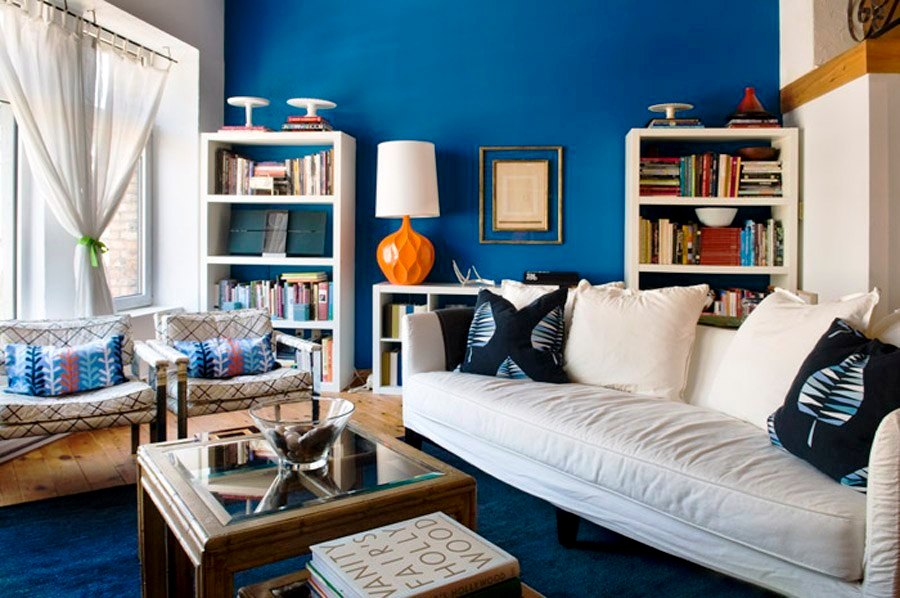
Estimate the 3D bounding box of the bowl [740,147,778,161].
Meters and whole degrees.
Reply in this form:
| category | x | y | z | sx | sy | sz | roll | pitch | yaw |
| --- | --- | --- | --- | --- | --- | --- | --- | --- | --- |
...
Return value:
| category | x | y | z | sx | sy | sz | roll | pitch | yaw |
| --- | --- | --- | --- | --- | --- | --- | --- | --- | --- |
| bowl | 2.296 | -1.070 | 5.303 | 0.260 | 0.111 | 0.152 | 1 | 7 | 24 |

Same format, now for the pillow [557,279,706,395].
| category | x | y | z | sx | sy | sz | roll | pitch | yaw |
| --- | --- | --- | --- | --- | --- | --- | --- | --- | --- |
| pillow | 1.027 | 0.227 | 4.100 | 0.388 | 0.641 | 0.835 | -1 | 5 | -40 |

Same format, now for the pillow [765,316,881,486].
| category | x | y | z | sx | sy | sz | roll | pitch | yaw |
| --- | --- | --- | --- | --- | --- | --- | --- | --- | --- |
| pillow | 1.651 | 0.435 | 3.030 | 0.402 | 0.593 | 0.410 | -4 | 7 | -18 |

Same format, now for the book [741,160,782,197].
| category | x | y | z | sx | sy | sz | roll | pitch | yaw |
| --- | --- | --- | --- | --- | --- | --- | --- | --- | --- |
| book | 2.277 | -0.873 | 5.200 | 0.280 | 0.248 | 0.064 | -1 | 3 | 6 |

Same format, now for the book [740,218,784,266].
| category | x | y | z | sx | sy | sz | roll | pitch | yaw |
| --- | --- | --- | --- | --- | --- | --- | --- | --- | --- |
| book | 2.300 | -0.412 | 5.294 | 0.298 | 0.321 | 0.107 | 1 | 7 | 24 |

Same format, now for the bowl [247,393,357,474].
| category | x | y | z | sx | sy | sz | roll | pitch | yaw |
| --- | --- | --- | --- | --- | --- | --- | --- | --- | --- |
| bowl | -0.616 | 0.573 | 3.001 | 0.452 | 0.213 | 0.440 | -1 | 6 | 0 |

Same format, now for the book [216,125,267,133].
| category | x | y | z | sx | sy | sz | roll | pitch | yaw |
| --- | --- | --- | --- | --- | --- | --- | --- | --- | --- |
| book | -1.583 | -1.300 | 5.515 | 0.360 | 0.053 | 0.084 | -3 | 6 | -11 |

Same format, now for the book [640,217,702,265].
| category | x | y | z | sx | sy | sz | roll | pitch | yaw |
| --- | --- | --- | --- | --- | --- | --- | --- | --- | --- |
| book | 1.666 | -0.415 | 5.387 | 0.343 | 0.439 | 0.466 | 3 | 3 | 29 |

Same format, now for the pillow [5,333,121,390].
| category | x | y | z | sx | sy | sz | roll | pitch | yaw |
| --- | --- | --- | --- | --- | --- | --- | --- | --- | --- |
| pillow | -2.124 | 0.374 | 3.989 | 0.601 | 0.289 | 0.203 | -4 | 7 | -24 |

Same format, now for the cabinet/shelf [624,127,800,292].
| category | x | y | z | sx | sy | sz | roll | pitch | yaw |
| --- | --- | --- | --- | --- | --- | --- | --- | --- | --- |
| cabinet/shelf | 1.952 | -0.683 | 5.295 | 1.333 | 1.481 | 0.479 | 0 | 0 | 3 |

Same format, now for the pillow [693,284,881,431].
| category | x | y | z | sx | sy | sz | roll | pitch | yaw |
| --- | --- | --- | --- | --- | --- | --- | --- | --- | --- |
| pillow | 1.620 | 0.244 | 3.453 | 0.209 | 0.696 | 0.698 | 31 | -30 | -4 |

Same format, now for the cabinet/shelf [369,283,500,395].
| category | x | y | z | sx | sy | sz | roll | pitch | yaw |
| --- | --- | --- | --- | --- | --- | --- | --- | --- | --- |
| cabinet/shelf | -0.102 | 0.265 | 4.612 | 0.860 | 0.771 | 0.295 | 2 | 1 | 9 |

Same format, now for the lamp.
| category | x | y | z | sx | sy | sz | roll | pitch | yaw |
| --- | --- | --- | --- | --- | --- | --- | --- | --- | --- |
| lamp | -0.329 | -0.650 | 5.499 | 0.467 | 1.103 | 0.402 | -2 | 6 | -6 |

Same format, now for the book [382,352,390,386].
| category | x | y | z | sx | sy | sz | roll | pitch | yaw |
| --- | --- | --- | --- | --- | --- | --- | --- | --- | --- |
| book | -0.477 | 0.540 | 5.513 | 0.086 | 0.240 | 0.054 | -2 | 6 | 1 |

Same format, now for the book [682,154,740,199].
| category | x | y | z | sx | sy | sz | roll | pitch | yaw |
| --- | --- | --- | --- | --- | --- | --- | --- | --- | --- |
| book | 1.877 | -0.935 | 5.432 | 0.424 | 0.305 | 0.429 | 1 | 17 | -4 |

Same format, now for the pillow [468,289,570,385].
| category | x | y | z | sx | sy | sz | roll | pitch | yaw |
| --- | --- | --- | --- | --- | --- | --- | --- | --- | --- |
| pillow | 0.374 | 0.200 | 4.200 | 0.630 | 0.526 | 0.352 | 5 | 9 | 23 |

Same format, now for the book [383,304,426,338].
| category | x | y | z | sx | sy | sz | roll | pitch | yaw |
| --- | --- | --- | --- | --- | --- | --- | --- | --- | --- |
| book | -0.375 | 0.138 | 5.482 | 0.253 | 0.320 | 0.341 | 0 | 1 | 12 |

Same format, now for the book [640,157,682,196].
| category | x | y | z | sx | sy | sz | roll | pitch | yaw |
| --- | --- | --- | --- | --- | --- | --- | --- | --- | --- |
| book | 1.553 | -0.904 | 5.301 | 0.287 | 0.278 | 0.066 | -1 | -4 | 5 |

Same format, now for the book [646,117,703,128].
| category | x | y | z | sx | sy | sz | roll | pitch | yaw |
| --- | --- | --- | --- | --- | --- | --- | --- | --- | --- |
| book | 1.653 | -1.291 | 5.288 | 0.367 | 0.082 | 0.098 | -1 | 6 | 10 |

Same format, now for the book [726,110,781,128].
| category | x | y | z | sx | sy | sz | roll | pitch | yaw |
| --- | --- | --- | --- | --- | --- | --- | --- | --- | --- |
| book | 2.224 | -1.304 | 5.242 | 0.336 | 0.113 | 0.047 | 0 | 6 | 13 |

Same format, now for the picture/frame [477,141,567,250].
| category | x | y | z | sx | sy | sz | roll | pitch | yaw |
| --- | --- | --- | --- | --- | --- | --- | --- | --- | --- |
| picture/frame | 0.602 | -0.848 | 5.702 | 0.896 | 0.970 | 0.079 | 0 | 6 | 5 |
